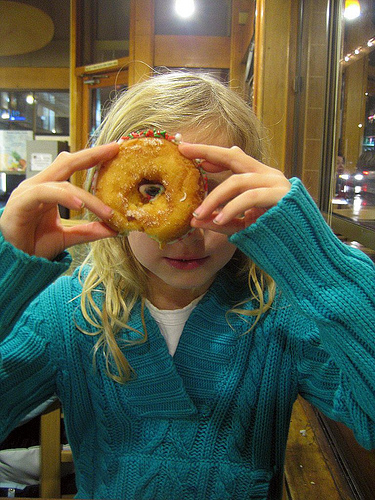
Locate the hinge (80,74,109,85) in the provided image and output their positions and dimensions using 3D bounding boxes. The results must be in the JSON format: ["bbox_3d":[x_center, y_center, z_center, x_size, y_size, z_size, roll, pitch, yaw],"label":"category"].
[{"bbox_3d":[-1.185,-2.184,5.229,0.223,0.056,0.154,-2,-1,11],"label":"hinge"}]

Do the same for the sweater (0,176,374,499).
[{"bbox_3d":[0.004,0.233,0.985,0.808,0.798,0.411,2,13,15],"label":"sweater"}]

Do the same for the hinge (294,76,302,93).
[{"bbox_3d":[0.630,-0.939,2.338,0.048,0.090,0.019,8,16,36],"label":"hinge"}]

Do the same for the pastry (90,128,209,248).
[{"bbox_3d":[-0.056,-0.138,0.868,0.230,0.229,0.082,-43,11,14],"label":"pastry"}]

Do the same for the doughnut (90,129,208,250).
[{"bbox_3d":[-0.076,-0.118,0.807,0.222,0.222,0.070,0,13,7],"label":"doughnut"}]
